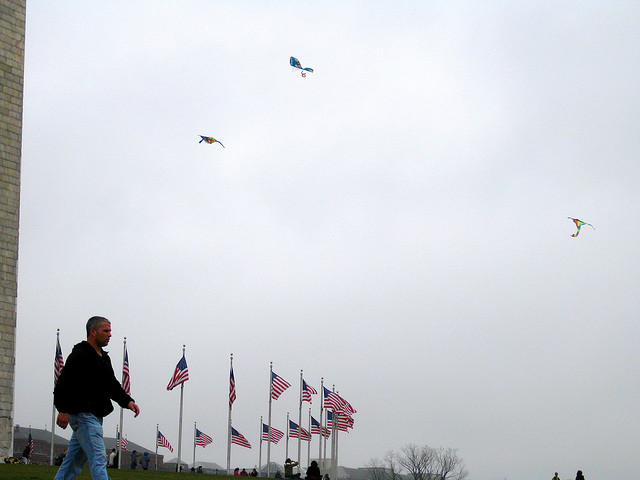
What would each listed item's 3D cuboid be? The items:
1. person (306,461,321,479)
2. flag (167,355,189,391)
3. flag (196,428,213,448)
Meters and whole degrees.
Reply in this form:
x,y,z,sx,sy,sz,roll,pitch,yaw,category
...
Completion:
x,y,z,sx,sy,sz,roll,pitch,yaw,category
-0.330,10.910,45.582,0.540,1.027,0.335,5,3,-18,person
-9.230,8.660,64.604,1.230,3.851,0.319,-7,-58,4,flag
-9.976,17.173,83.416,0.913,1.802,2.987,7,-28,-12,flag
